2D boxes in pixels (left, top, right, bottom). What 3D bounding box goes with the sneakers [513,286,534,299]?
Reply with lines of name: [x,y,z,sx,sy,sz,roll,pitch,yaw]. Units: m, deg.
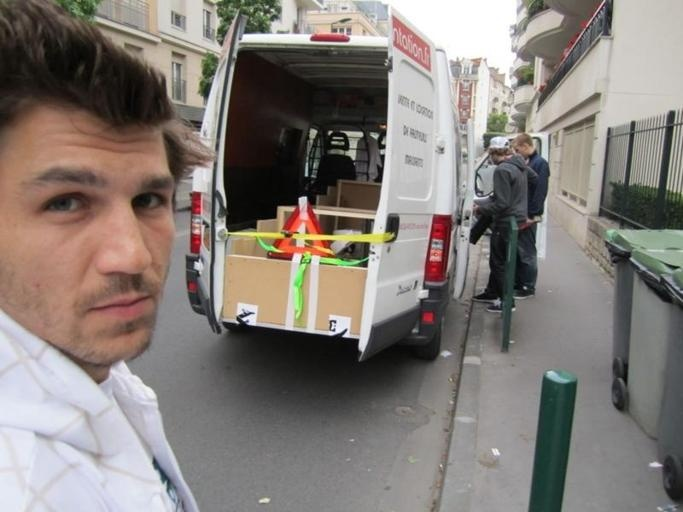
sneakers: [2.531,0.488,7.551,0.339,0.169,0.135,6,2,6]

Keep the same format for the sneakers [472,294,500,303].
sneakers: [1.910,0.565,7.375,0.290,0.135,0.110,7,5,25]

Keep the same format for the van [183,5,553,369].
van: [0.149,-1.482,6.292,2.677,2.968,5.104,4,16,8]
